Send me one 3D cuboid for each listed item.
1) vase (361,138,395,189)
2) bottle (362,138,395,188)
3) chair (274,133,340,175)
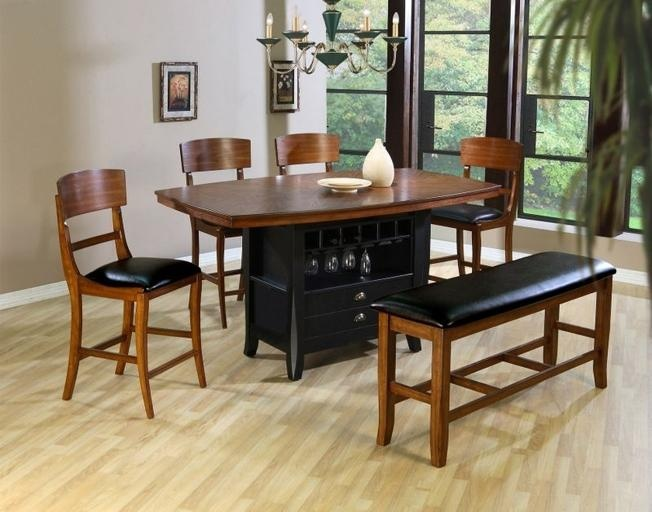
[{"bbox_3d":[0.369,-0.613,3.552,0.275,0.416,0.280,1,10,12],"label":"vase"},{"bbox_3d":[0.381,-0.633,3.652,0.273,0.414,0.279,-1,10,0],"label":"bottle"},{"bbox_3d":[-0.174,-0.863,4.551,0.480,0.610,0.383,-6,14,-24],"label":"chair"}]
